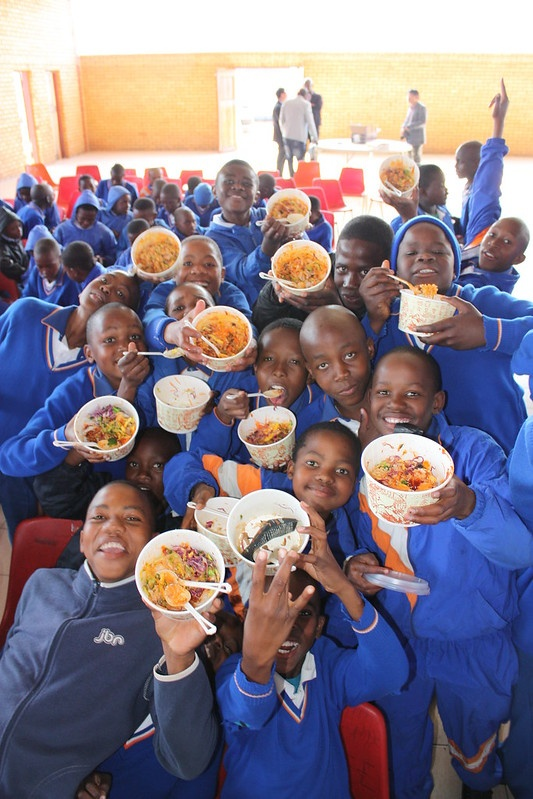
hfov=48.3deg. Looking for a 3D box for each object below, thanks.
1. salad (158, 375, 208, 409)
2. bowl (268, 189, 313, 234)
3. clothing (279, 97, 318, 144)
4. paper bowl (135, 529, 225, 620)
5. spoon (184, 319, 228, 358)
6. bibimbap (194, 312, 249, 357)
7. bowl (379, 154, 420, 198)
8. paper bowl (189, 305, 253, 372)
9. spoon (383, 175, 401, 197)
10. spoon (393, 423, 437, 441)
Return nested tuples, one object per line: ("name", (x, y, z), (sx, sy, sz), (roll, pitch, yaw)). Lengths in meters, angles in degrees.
("salad", (-0.270, -0.018, 1.906), (0.130, 0.047, 0.119), (-11, 48, -16))
("bowl", (0.117, -0.874, 2.730), (0.241, 0.240, 0.181), (-1, -10, 3))
("clothing", (0.519, -4.465, 9.482), (0.563, 0.668, 0.463), (-4, 25, -3))
("paper bowl", (-0.172, 0.367, 1.192), (0.179, 0.073, 0.167), (6, 60, -10))
("spoon", (-0.183, -0.178, 1.773), (0.123, 0.116, 0.052), (-5, -12, -40))
("bibimbap", (-0.123, -0.199, 1.724), (0.162, 0.147, 0.074), (12, -20, -4))
("bowl", (0.559, -0.947, 2.458), (0.183, 0.198, 0.087), (5, 2, 5))
("paper bowl", (-0.125, -0.168, 1.827), (0.188, 0.140, 0.195), (4, 67, -10))
("spoon", (0.519, -0.893, 2.471), (0.034, 0.037, 0.135), (-32, 34, 17))
("spoon", (0.346, 0.071, 1.372), (0.064, 0.022, 0.044), (18, 12, -4))
